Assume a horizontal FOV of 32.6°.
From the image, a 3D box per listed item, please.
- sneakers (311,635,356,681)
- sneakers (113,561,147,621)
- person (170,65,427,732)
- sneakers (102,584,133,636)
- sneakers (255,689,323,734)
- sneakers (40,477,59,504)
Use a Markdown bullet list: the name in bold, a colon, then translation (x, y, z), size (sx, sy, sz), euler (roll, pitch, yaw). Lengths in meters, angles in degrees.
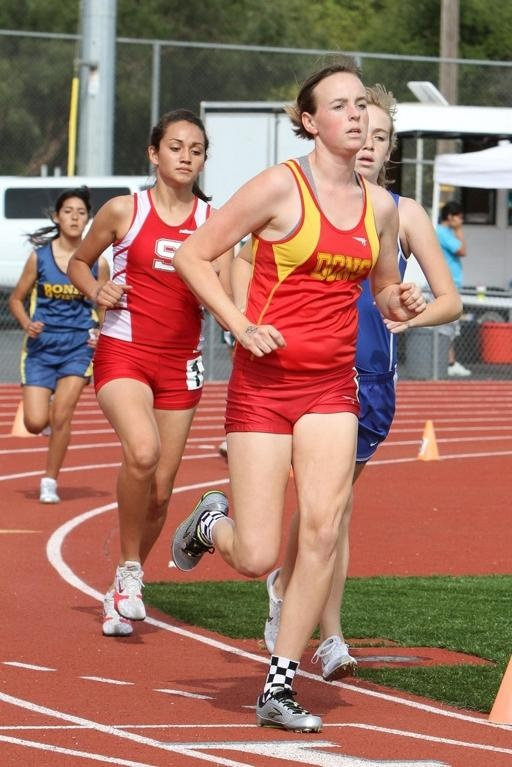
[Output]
- **sneakers**: translation (0.256, 0.882, 2.795), size (0.101, 0.077, 0.176), euler (-3, -12, -4)
- **sneakers**: translation (-0.532, 0.892, 3.676), size (0.112, 0.138, 0.288), euler (-1, 44, -17)
- **person**: translation (0.129, 0.064, 2.589), size (0.703, 1.994, 0.762), euler (2, 6, 6)
- **sneakers**: translation (-0.605, 1.015, 3.818), size (0.092, 0.104, 0.261), euler (-1, -1, -16)
- **sneakers**: translation (0.082, 0.894, 2.448), size (0.237, 0.106, 0.083), euler (-1, 1, 44)
- **sneakers**: translation (-1.671, 0.876, 7.182), size (0.163, 0.216, 0.239), euler (2, -1, 3)
